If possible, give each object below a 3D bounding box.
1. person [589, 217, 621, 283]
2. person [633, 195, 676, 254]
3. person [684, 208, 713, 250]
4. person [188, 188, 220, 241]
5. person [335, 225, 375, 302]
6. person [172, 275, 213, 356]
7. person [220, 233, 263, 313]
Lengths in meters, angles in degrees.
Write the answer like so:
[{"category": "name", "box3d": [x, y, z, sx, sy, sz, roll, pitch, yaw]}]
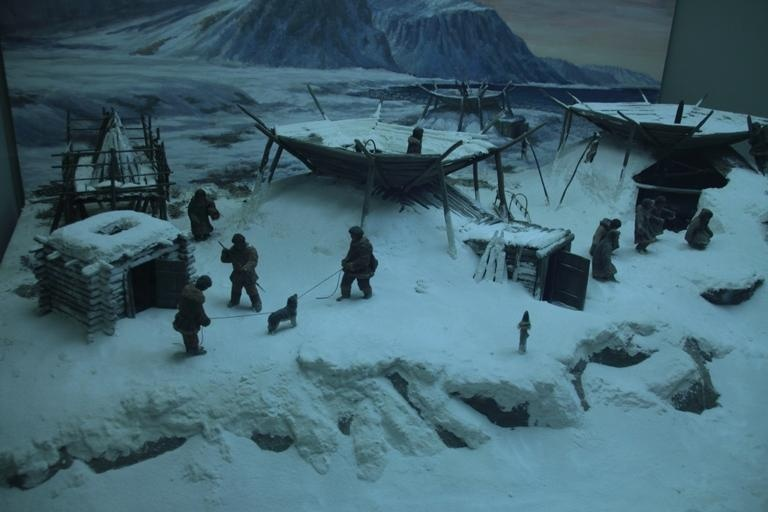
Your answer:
[{"category": "person", "box3d": [6.099, -0.205, 19.213, 0.789, 1.544, 1.077, 9, 25, 14]}, {"category": "person", "box3d": [7.652, -0.951, 20.193, 0.696, 1.464, 1.194, 17, 28, 29]}, {"category": "person", "box3d": [9.114, -0.798, 20.088, 0.702, 1.120, 0.647, 7, 24, 9]}, {"category": "person", "box3d": [-5.054, -1.227, 19.484, 0.708, 1.404, 0.965, 5, 24, 5]}, {"category": "person", "box3d": [-0.652, 0.209, 17.364, 0.899, 1.782, 0.550, 2, 24, -2]}, {"category": "person", "box3d": [-4.320, 1.315, 15.786, 0.832, 1.780, 0.736, 0, 24, -7]}, {"category": "person", "box3d": [-3.467, 0.358, 17.165, 1.021, 1.806, 0.853, 4, 24, 3]}]
